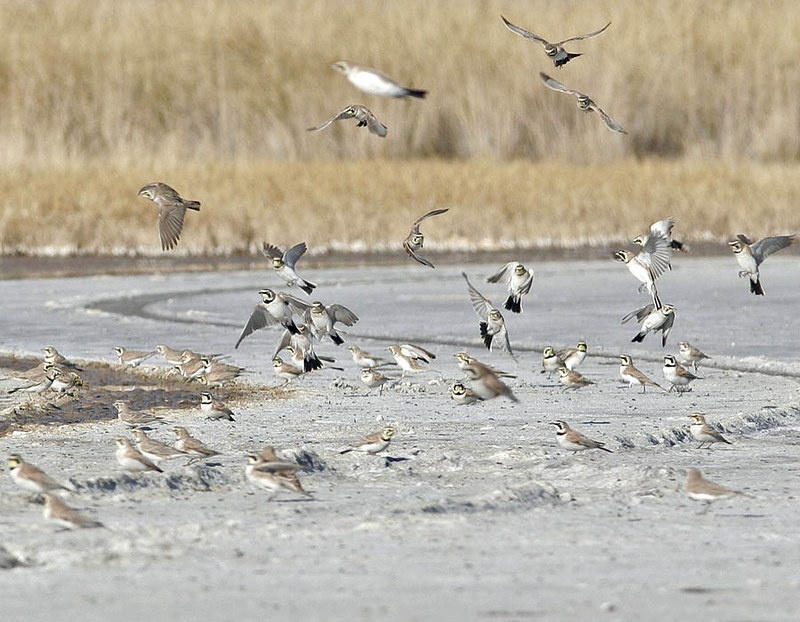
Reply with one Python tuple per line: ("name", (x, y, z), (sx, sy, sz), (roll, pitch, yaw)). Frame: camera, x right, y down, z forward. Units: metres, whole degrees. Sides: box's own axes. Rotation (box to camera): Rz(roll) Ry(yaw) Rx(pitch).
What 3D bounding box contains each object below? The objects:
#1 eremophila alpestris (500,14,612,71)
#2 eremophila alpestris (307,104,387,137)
("eremophila alpestris", (2.135, -3.654, 21.917), (1.613, 0.524, 0.546), (2, 8, -7))
("eremophila alpestris", (-0.517, -2.458, 20.501), (0.635, 0.344, 1.686), (0, 9, -2))
